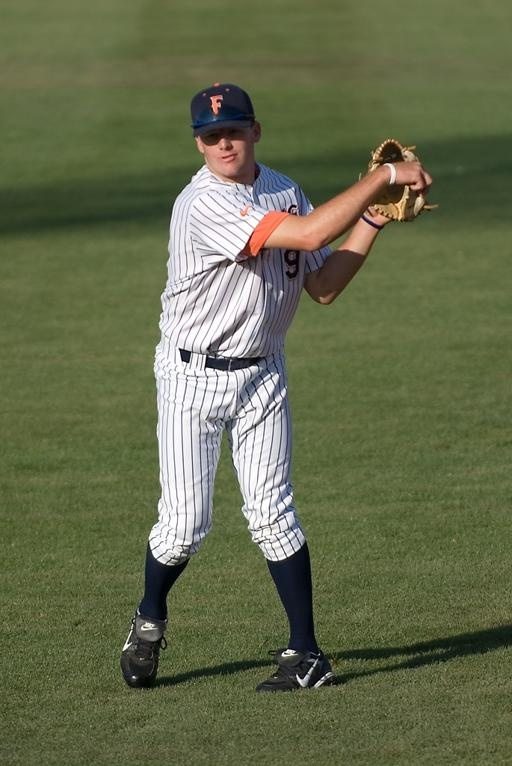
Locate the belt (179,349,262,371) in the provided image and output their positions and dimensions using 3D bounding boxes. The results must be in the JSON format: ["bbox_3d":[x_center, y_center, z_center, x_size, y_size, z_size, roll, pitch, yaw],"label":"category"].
[{"bbox_3d":[-0.101,-0.066,2.836,0.236,0.057,0.067,0,10,-2],"label":"belt"}]

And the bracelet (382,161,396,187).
[{"bbox_3d":[0.370,-0.587,2.633,0.013,0.048,0.050,-2,5,-7],"label":"bracelet"}]

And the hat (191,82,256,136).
[{"bbox_3d":[-0.096,-0.793,2.787,0.148,0.110,0.190,-2,13,11],"label":"hat"}]

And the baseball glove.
[{"bbox_3d":[0.456,-0.646,2.973,0.236,0.277,0.129,3,2,-2],"label":"baseball glove"}]

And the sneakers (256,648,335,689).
[{"bbox_3d":[0.136,0.879,2.951,0.270,0.113,0.096,-4,1,-21],"label":"sneakers"}]

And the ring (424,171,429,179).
[{"bbox_3d":[0.491,-0.606,2.769,0.006,0.020,0.021,-20,-1,7],"label":"ring"}]

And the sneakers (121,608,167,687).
[{"bbox_3d":[-0.348,0.825,2.981,0.099,0.095,0.239,17,32,-16],"label":"sneakers"}]

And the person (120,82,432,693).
[{"bbox_3d":[0.016,0.019,2.912,0.829,1.821,0.673,1,11,5],"label":"person"}]
